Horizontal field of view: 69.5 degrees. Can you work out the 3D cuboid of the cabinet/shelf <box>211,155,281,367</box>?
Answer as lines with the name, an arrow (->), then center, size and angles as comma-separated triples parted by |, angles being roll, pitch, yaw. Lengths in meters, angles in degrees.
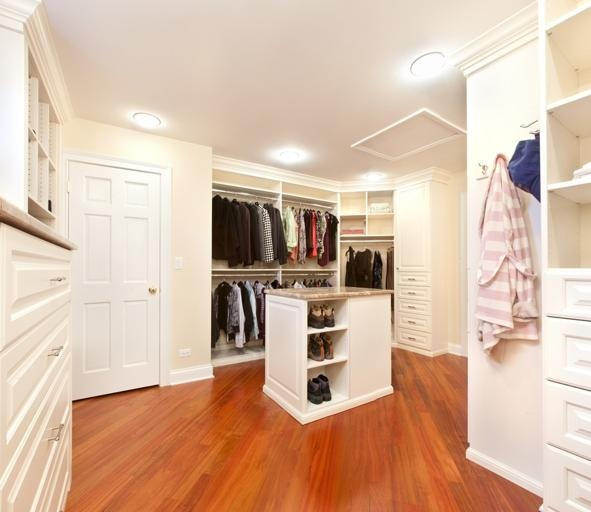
cabinet/shelf -> -0.574, 0.056, 4.640 | 0.647, 2.120, 1.056 | 7, 12, 39

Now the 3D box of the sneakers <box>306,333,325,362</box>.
sneakers -> 0.137, 0.708, 3.294 | 0.072, 0.172, 0.223 | 0, 1, -8

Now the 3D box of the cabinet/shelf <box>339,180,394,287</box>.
cabinet/shelf -> 0.912, -0.248, 5.621 | 0.728, 1.264, 0.534 | 2, 9, 13

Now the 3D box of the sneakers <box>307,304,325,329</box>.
sneakers -> 0.157, 0.478, 3.316 | 0.120, 0.154, 0.229 | 0, 10, 2

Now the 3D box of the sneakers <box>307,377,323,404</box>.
sneakers -> 0.144, 1.038, 3.226 | 0.122, 0.135, 0.120 | 2, 10, 9

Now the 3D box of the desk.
desk -> 0.268, 0.708, 3.619 | 1.041, 1.187, 0.776 | 1, -2, -38

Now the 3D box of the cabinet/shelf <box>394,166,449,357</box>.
cabinet/shelf -> 1.466, 0.069, 5.038 | 0.500, 2.027, 0.803 | -6, 11, -34
